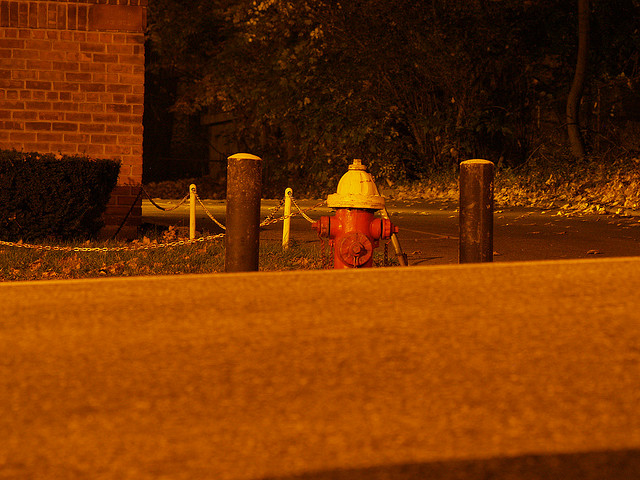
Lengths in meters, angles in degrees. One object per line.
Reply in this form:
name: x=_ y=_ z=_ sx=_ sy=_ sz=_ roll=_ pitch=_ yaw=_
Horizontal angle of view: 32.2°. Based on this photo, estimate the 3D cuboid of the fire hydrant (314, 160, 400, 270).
fire hydrant: x=0.278 y=0.002 z=9.344 sx=0.491 sy=1.309 sz=0.525 roll=0 pitch=-5 yaw=36

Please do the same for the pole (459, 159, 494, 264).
pole: x=1.246 y=-0.208 z=8.818 sx=0.272 sy=0.808 sz=0.354 roll=2 pitch=11 yaw=7

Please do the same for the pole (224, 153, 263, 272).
pole: x=-0.552 y=-0.175 z=7.973 sx=0.225 sy=1.007 sz=0.263 roll=5 pitch=26 yaw=1
